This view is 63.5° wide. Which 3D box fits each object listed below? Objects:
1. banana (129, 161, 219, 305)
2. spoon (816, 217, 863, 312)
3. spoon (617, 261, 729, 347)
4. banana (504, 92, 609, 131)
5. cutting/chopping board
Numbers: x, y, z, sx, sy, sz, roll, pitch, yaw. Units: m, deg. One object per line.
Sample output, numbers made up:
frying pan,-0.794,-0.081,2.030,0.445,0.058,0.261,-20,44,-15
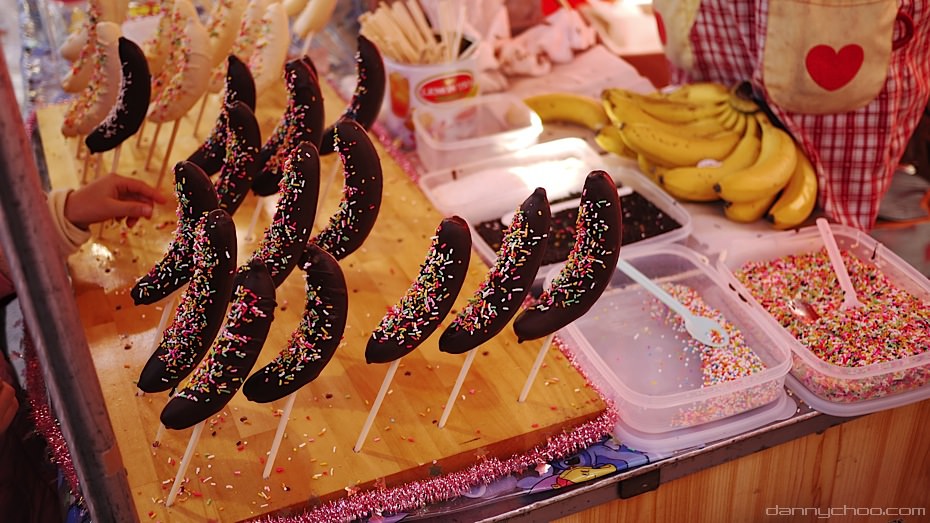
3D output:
banana,-0.893,-0.036,2.206,0.169,0.535,0.228,36,35,21
spoon,1.217,0.014,2.480,0.072,0.047,0.303,-35,43,35
spoon,0.672,0.147,2.422,0.344,0.050,0.072,40,72,23
banana,0.367,-0.596,3.038,0.316,0.085,0.153,4,82,13
cutting/chopping board,-0.356,0.228,1.993,0.942,0.082,1.423,-14,45,-19
